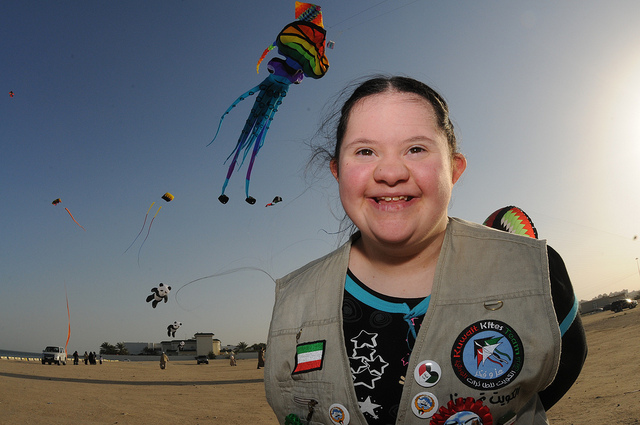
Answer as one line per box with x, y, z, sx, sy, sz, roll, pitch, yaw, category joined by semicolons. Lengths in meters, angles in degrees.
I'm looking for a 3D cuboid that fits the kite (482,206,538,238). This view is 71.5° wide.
1.755;0.093;4.013;0.343;0.141;0.440;10;-20;44;kite

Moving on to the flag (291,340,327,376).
-0.071;1.103;3.328;0.255;0.267;0.029;-10;-33;32;flag

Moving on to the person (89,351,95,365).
-18.145;11.677;35.301;0.350;0.776;0.665;-2;-13;-30;person

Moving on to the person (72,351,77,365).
-18.806;11.322;34.119;0.189;0.811;1.154;-2;-14;-28;person

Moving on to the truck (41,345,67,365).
-19.660;10.687;32.889;1.435;1.375;1.701;-1;-14;-36;truck

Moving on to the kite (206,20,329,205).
-1.002;-1.818;8.158;1.442;1.067;3.758;14;-58;-43;kite
